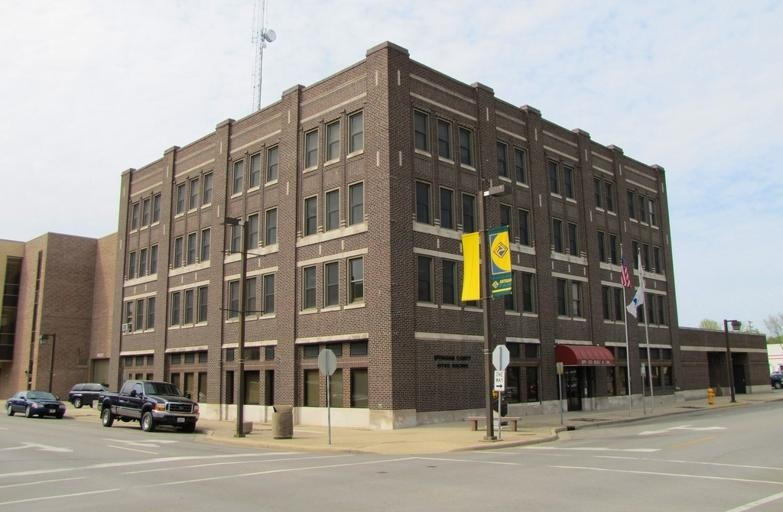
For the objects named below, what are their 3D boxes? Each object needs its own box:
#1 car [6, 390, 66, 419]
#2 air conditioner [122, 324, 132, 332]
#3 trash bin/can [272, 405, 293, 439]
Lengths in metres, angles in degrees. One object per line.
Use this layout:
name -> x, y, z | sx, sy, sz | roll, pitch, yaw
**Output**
car -> -24.864, 10.410, 47.217 | 5.201, 2.196, 1.596 | -15, -23, 34
air conditioner -> -22.316, 6.010, 56.701 | 0.664, 0.582, 0.301 | -11, -16, 36
trash bin/can -> -5.422, 8.248, 33.484 | 0.952, 1.619, 0.667 | 2, -20, -13
